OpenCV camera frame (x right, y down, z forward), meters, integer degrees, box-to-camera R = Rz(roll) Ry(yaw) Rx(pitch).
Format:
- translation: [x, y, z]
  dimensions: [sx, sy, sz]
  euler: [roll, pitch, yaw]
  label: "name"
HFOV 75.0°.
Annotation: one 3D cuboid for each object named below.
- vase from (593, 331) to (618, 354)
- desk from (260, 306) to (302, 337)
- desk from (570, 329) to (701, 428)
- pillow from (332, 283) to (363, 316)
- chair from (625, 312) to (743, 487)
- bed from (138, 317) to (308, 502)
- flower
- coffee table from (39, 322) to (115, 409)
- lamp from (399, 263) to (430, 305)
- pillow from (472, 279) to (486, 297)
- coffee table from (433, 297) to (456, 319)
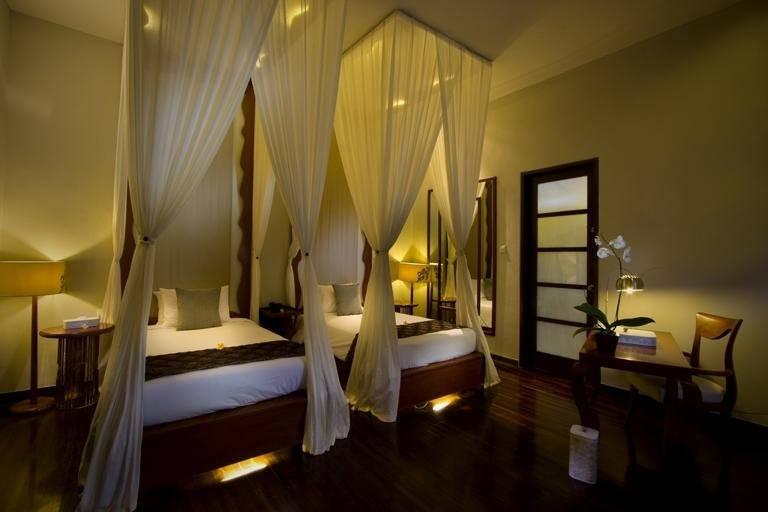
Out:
- translation: [2.165, 0.832, 4.925]
  dimensions: [0.232, 0.211, 0.188]
  euler: [0, 4, -35]
  label: "vase"
- translation: [-1.448, 0.897, 6.887]
  dimensions: [0.400, 0.566, 0.521]
  euler: [2, -1, -32]
  label: "desk"
- translation: [2.454, 1.334, 4.947]
  dimensions: [0.953, 0.688, 0.765]
  euler: [3, 2, 27]
  label: "desk"
- translation: [-0.523, 0.620, 7.084]
  dimensions: [0.403, 0.410, 0.340]
  euler: [0, -1, -8]
  label: "pillow"
- translation: [3.222, 1.378, 5.319]
  dimensions: [0.732, 1.608, 1.004]
  euler: [4, 3, 9]
  label: "chair"
- translation: [-1.578, 1.460, 4.903]
  dimensions: [1.292, 0.616, 1.399]
  euler: [-1, 2, -29]
  label: "bed"
- translation: [2.485, 0.343, 5.421]
  dimensions: [0.770, 1.190, 0.709]
  euler: [0, -1, -7]
  label: "flower"
- translation: [-3.527, 1.220, 5.684]
  dimensions: [0.663, 0.802, 0.488]
  euler: [-3, 5, 24]
  label: "coffee table"
- translation: [0.463, 0.460, 8.400]
  dimensions: [0.390, 0.722, 0.425]
  euler: [0, 10, -4]
  label: "lamp"
- translation: [1.451, 0.478, 7.581]
  dimensions: [0.055, 0.226, 0.232]
  euler: [-4, 38, -14]
  label: "pillow"
- translation: [0.985, 0.849, 8.074]
  dimensions: [0.276, 0.572, 0.312]
  euler: [2, -4, -24]
  label: "coffee table"
